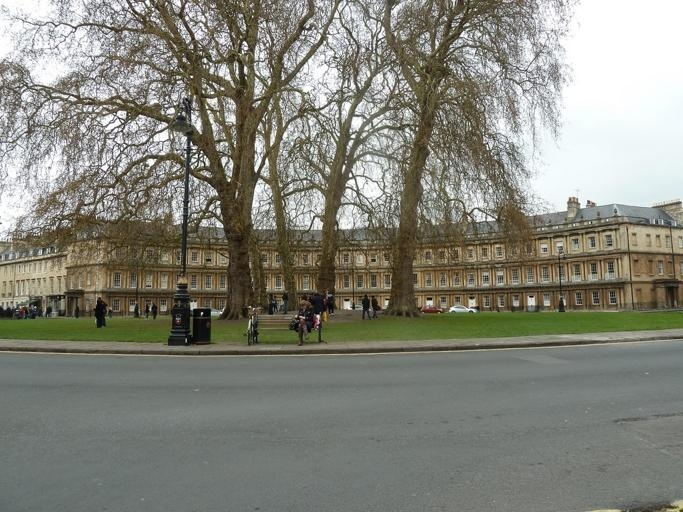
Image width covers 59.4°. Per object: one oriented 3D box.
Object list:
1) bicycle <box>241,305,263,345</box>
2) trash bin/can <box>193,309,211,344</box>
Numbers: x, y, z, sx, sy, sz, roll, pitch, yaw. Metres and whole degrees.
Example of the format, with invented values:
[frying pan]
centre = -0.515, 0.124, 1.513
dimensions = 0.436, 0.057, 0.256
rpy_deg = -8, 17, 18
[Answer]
[bicycle]
centre = -3.022, 2.522, 20.936
dimensions = 0.369, 0.873, 1.182
rpy_deg = -1, 17, -3
[trash bin/can]
centre = -4.922, 2.489, 21.156
dimensions = 0.643, 1.249, 0.516
rpy_deg = -1, -5, -8
